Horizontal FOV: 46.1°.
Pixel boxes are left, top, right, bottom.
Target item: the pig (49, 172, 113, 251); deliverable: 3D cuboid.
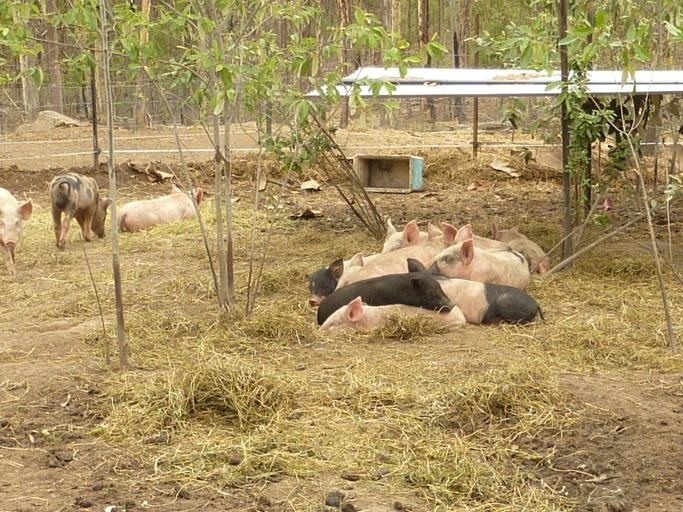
[{"bbox_3d":[-3.443,-0.553,10.646,0.876,1.195,0.843,-4,14,-28],"label":"pig"}]
